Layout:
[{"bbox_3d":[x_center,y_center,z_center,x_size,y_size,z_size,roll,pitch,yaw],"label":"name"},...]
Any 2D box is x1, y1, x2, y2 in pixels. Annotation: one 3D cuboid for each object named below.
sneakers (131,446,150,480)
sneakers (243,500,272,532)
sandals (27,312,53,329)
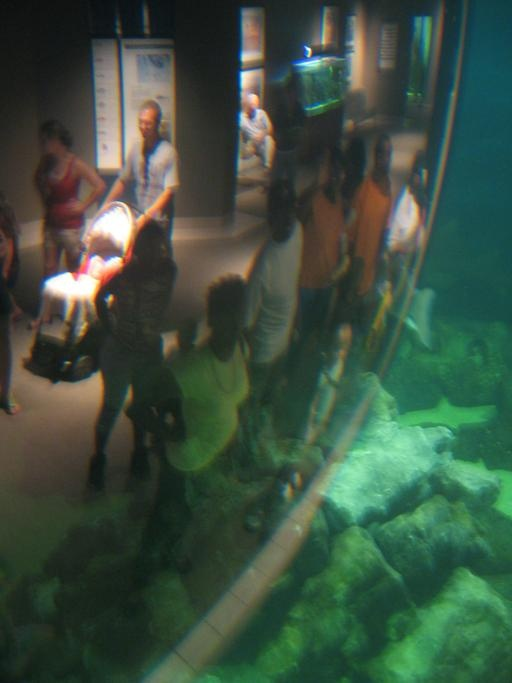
[{"bbox_3d":[-0.794,0.840,3.440,0.144,0.233,0.051,-3,15,-36],"label":"sneakers"},{"bbox_3d":[0.006,1.674,4.725,0.188,0.095,0.275,10,46,33],"label":"sneakers"},{"bbox_3d":[-1.029,-0.101,2.401,0.036,0.050,0.111,2,32,21],"label":"sandals"}]
